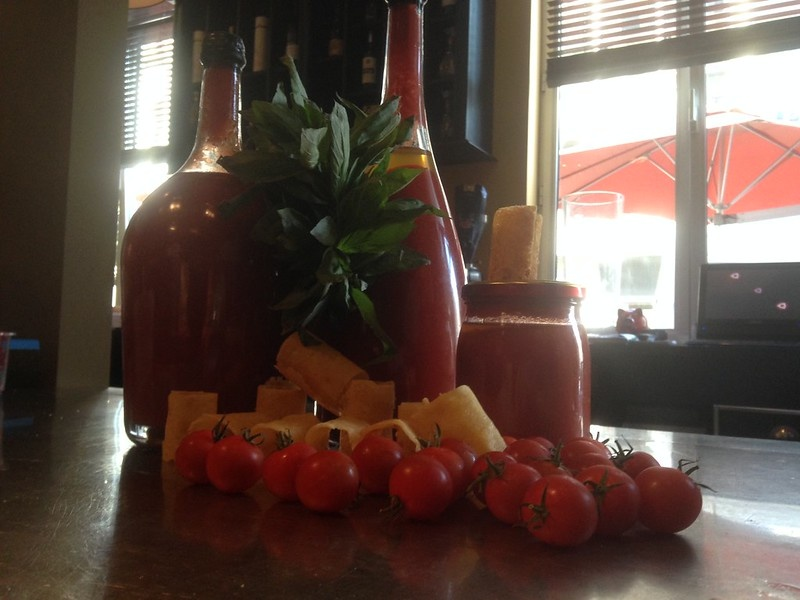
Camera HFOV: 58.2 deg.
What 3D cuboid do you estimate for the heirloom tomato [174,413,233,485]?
[{"bbox_3d":[-0.130,0.102,0.488,0.033,0.043,0.032,17,2,-24],"label":"heirloom tomato"}]

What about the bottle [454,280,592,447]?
[{"bbox_3d":[0.080,0.050,0.623,0.118,0.155,0.110,1,-4,0],"label":"bottle"}]
